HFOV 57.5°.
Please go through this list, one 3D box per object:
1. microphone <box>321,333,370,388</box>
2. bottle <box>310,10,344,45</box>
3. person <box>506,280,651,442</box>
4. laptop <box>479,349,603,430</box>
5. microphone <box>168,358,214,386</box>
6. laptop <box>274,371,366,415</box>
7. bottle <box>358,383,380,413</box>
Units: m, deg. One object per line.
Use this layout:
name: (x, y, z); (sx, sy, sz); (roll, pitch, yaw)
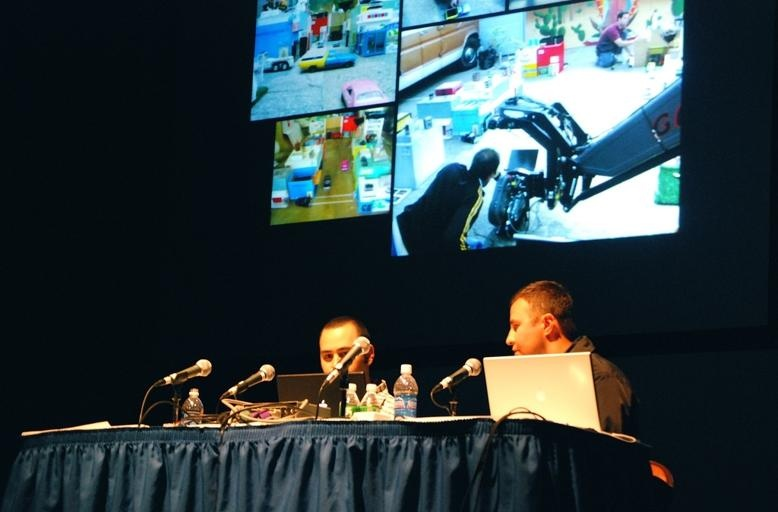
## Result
microphone: (-0.215, 0.528, 3.623); (0.212, 0.227, 0.377); (1, -5, -6)
bottle: (-0.509, -1.946, 6.020); (0.276, 0.281, 0.069); (1, -3, 22)
person: (1.113, 0.767, 4.373); (0.636, 1.332, 0.786); (-11, 13, -8)
laptop: (0.729, 0.604, 3.307); (0.512, 0.374, 0.377); (-6, -6, 31)
microphone: (-1.073, 0.620, 3.810); (0.213, 0.118, 0.367); (1, -5, -9)
laptop: (-0.423, 0.729, 3.963); (0.372, 0.238, 0.272); (-2, -2, 21)
bottle: (-0.098, 0.780, 3.924); (0.116, 0.239, 0.123); (0, -1, 0)
